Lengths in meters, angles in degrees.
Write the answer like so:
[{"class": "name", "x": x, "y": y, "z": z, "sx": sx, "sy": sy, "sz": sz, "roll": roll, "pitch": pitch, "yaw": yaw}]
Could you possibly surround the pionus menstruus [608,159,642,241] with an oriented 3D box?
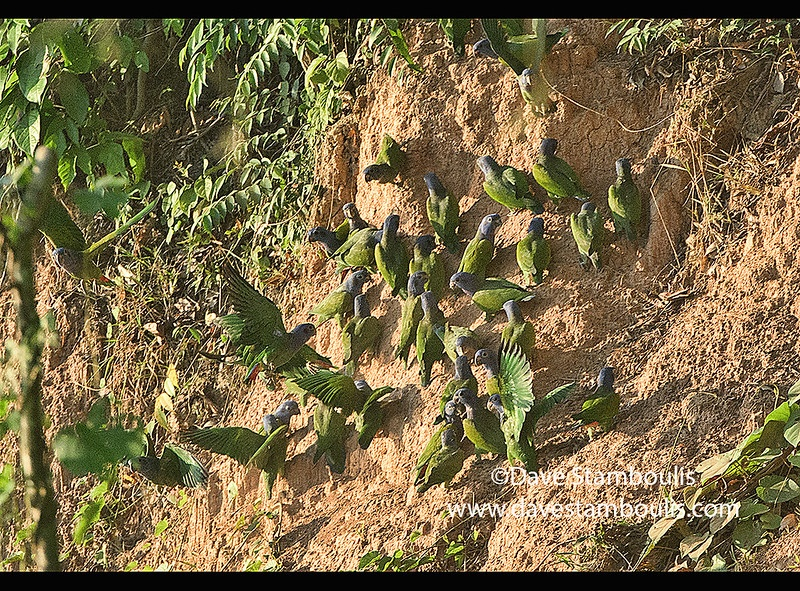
[{"class": "pionus menstruus", "x": 1.044, "y": -0.418, "z": 7.858, "sx": 0.128, "sy": 0.407, "sz": 0.171, "roll": -9, "pitch": -32, "yaw": 23}]
